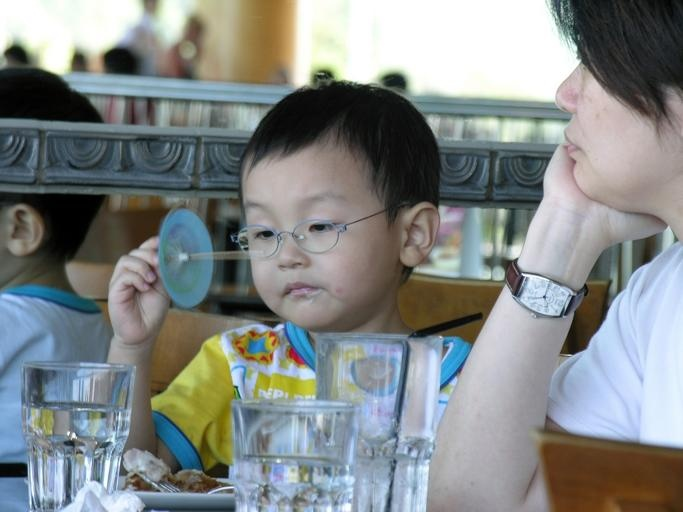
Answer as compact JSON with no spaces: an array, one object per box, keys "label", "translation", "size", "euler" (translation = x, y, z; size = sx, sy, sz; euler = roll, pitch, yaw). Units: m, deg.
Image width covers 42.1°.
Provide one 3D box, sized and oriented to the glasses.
[{"label":"glasses","translation":[-0.054,-0.048,1.777],"size":[0.321,0.105,0.106],"euler":[5,1,-9]}]
